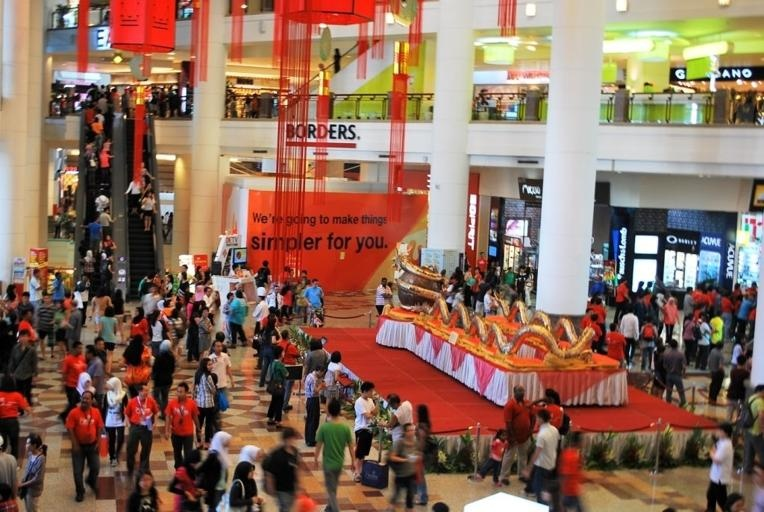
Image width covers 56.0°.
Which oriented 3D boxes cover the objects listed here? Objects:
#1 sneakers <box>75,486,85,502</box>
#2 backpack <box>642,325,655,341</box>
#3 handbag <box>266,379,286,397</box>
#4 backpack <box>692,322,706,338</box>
[{"bbox_3d":[-3.931,3.112,9.320,0.073,0.091,0.207,1,-3,-11],"label":"sneakers"},{"bbox_3d":[5.720,1.626,15.340,0.246,0.372,0.334,3,-4,-3],"label":"backpack"},{"bbox_3d":[-1.730,2.147,11.715,0.270,0.339,0.413,1,4,-12],"label":"handbag"},{"bbox_3d":[7.147,1.652,16.052,0.324,0.371,0.245,0,1,33],"label":"backpack"}]
